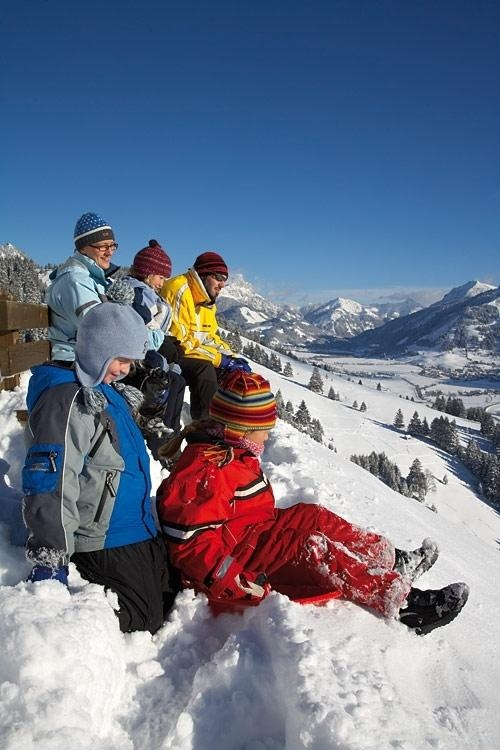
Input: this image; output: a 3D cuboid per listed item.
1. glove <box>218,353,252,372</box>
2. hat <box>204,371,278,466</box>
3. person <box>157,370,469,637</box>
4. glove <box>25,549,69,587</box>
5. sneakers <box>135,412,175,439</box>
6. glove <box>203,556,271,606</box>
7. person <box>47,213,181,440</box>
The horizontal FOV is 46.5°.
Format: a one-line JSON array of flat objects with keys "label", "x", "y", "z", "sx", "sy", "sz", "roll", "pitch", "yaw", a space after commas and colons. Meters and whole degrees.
[{"label": "glove", "x": -0.130, "y": -0.091, "z": 5.296, "sx": 0.251, "sy": 0.113, "sz": 0.194, "roll": 9, "pitch": -10, "yaw": 9}, {"label": "hat", "x": -0.039, "y": 0.218, "z": 3.515, "sx": 0.406, "sy": 0.553, "sz": 0.514, "roll": 9, "pitch": 6, "yaw": 31}, {"label": "person", "x": 0.348, "y": 0.763, "z": 3.584, "sx": 1.755, "sy": 1.351, "sz": 1.056, "roll": 5, "pitch": 8, "yaw": 7}, {"label": "glove", "x": -0.931, "y": 0.893, "z": 2.705, "sx": 0.190, "sy": 0.190, "sz": 0.075, "roll": 7, "pitch": 0, "yaw": -12}, {"label": "sneakers", "x": -0.657, "y": 0.353, "z": 3.995, "sx": 0.220, "sy": 0.088, "sz": 0.149, "roll": 27, "pitch": 57, "yaw": 30}, {"label": "glove", "x": -0.058, "y": 1.126, "z": 3.232, "sx": 0.329, "sy": 0.253, "sz": 0.154, "roll": 22, "pitch": 18, "yaw": 6}, {"label": "person", "x": -1.047, "y": -0.422, "z": 4.473, "sx": 0.905, "sy": 1.570, "sz": 0.769, "roll": 0, "pitch": 13, "yaw": -3}]
